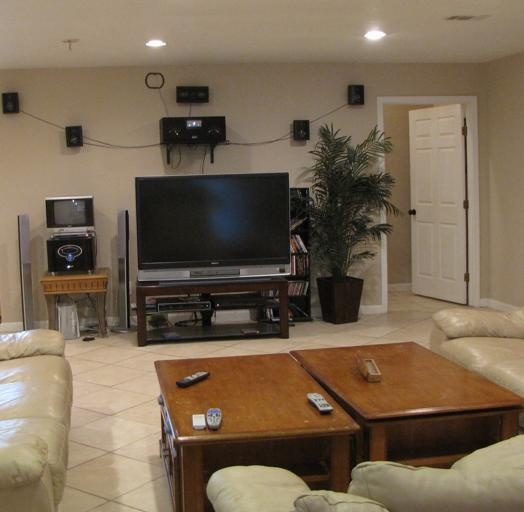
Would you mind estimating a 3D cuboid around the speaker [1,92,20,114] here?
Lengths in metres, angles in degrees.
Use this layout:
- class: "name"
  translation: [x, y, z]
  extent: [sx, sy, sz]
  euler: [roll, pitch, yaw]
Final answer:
- class: "speaker"
  translation: [-2.653, -1.591, 5.030]
  extent: [0.179, 0.228, 0.081]
  euler: [-2, 5, -9]

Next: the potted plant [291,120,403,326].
- class: "potted plant"
  translation: [0.974, -0.376, 5.333]
  extent: [0.902, 2.183, 0.545]
  euler: [-2, 5, -2]

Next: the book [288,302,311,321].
- class: "book"
  translation: [0.406, 0.624, 5.362]
  extent: [0.203, 0.201, 0.057]
  euler: [-1, -24, -5]

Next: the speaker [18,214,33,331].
- class: "speaker"
  translation: [-2.467, 0.186, 5.007]
  extent: [0.136, 1.221, 0.392]
  euler: [-4, 5, -26]

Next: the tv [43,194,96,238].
- class: "tv"
  translation: [-1.997, -0.418, 5.030]
  extent: [0.444, 0.378, 0.250]
  euler: [-3, 8, -9]

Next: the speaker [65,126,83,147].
- class: "speaker"
  translation: [-2.014, -1.261, 5.127]
  extent: [0.187, 0.225, 0.109]
  euler: [-3, 5, -16]

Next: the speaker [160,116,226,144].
- class: "speaker"
  translation: [-0.728, -1.306, 5.029]
  extent: [0.653, 0.257, 0.135]
  euler: [-3, 5, -9]

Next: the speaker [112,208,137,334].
- class: "speaker"
  translation: [-1.509, 0.162, 5.125]
  extent: [0.232, 1.275, 0.499]
  euler: [-3, 5, -16]

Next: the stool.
- class: "stool"
  translation: [-1.921, 0.520, 4.964]
  extent: [0.647, 0.646, 0.443]
  euler: [-3, 2, -24]

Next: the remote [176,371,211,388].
- class: "remote"
  translation: [-0.321, 0.555, 2.185]
  extent: [0.051, 0.027, 0.111]
  euler: [5, 13, 40]

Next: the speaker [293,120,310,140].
- class: "speaker"
  translation: [0.428, -1.391, 5.333]
  extent: [0.214, 0.223, 0.119]
  euler: [-1, 0, -5]

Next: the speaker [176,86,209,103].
- class: "speaker"
  translation: [-0.758, -1.728, 5.176]
  extent: [0.327, 0.177, 0.117]
  euler: [-1, 5, -5]
